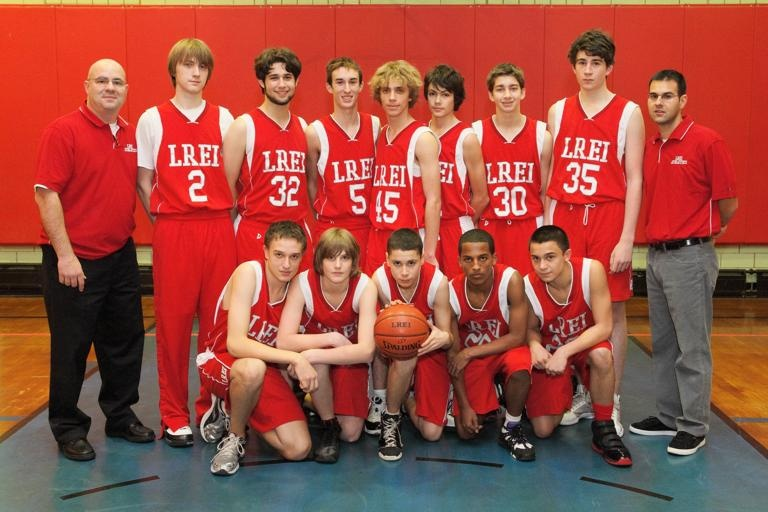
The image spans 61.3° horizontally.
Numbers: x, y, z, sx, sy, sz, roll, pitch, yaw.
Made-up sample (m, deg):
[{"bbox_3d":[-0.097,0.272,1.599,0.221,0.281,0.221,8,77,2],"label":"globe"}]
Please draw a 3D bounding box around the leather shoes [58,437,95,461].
[{"bbox_3d":[-2.155,1.355,4.536,0.123,0.123,0.264,4,-4,-43],"label":"leather shoes"}]

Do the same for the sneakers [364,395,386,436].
[{"bbox_3d":[-0.066,1.206,4.870,0.105,0.151,0.324,3,9,5],"label":"sneakers"}]

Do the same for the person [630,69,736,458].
[{"bbox_3d":[2.157,0.019,4.677,0.632,2.622,0.926,5,15,20],"label":"person"}]

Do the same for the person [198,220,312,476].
[{"bbox_3d":[-0.909,0.595,4.551,0.785,1.609,0.718,-5,15,-18],"label":"person"}]

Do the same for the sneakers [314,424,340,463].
[{"bbox_3d":[-0.404,1.297,4.579,0.174,0.195,0.316,-1,15,-3],"label":"sneakers"}]

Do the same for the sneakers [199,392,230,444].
[{"bbox_3d":[-1.257,1.126,4.762,0.181,0.447,0.158,4,5,9],"label":"sneakers"}]

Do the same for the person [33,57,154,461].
[{"bbox_3d":[-2.066,0.205,4.606,0.785,2.318,0.655,-8,16,-30],"label":"person"}]

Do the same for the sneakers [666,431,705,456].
[{"bbox_3d":[2.132,1.337,4.591,0.321,0.135,0.118,10,-17,-38],"label":"sneakers"}]

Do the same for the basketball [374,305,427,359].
[{"bbox_3d":[0.129,0.552,4.618,0.441,0.441,0.430,0,0,-18],"label":"basketball"}]

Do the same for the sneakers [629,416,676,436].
[{"bbox_3d":[2.008,1.279,4.875,0.329,0.137,0.125,4,-3,3],"label":"sneakers"}]

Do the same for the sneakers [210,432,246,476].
[{"bbox_3d":[-1.063,1.352,4.383,0.137,0.149,0.328,4,4,-2],"label":"sneakers"}]

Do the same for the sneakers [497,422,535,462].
[{"bbox_3d":[0.941,1.319,4.618,0.129,0.151,0.323,2,4,-26],"label":"sneakers"}]

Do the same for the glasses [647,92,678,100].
[{"bbox_3d":[2.039,-1.157,4.725,0.186,0.054,0.068,8,16,27],"label":"glasses"}]

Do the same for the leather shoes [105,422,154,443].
[{"bbox_3d":[-1.884,1.272,4.793,0.361,0.153,0.150,0,-1,19],"label":"leather shoes"}]
